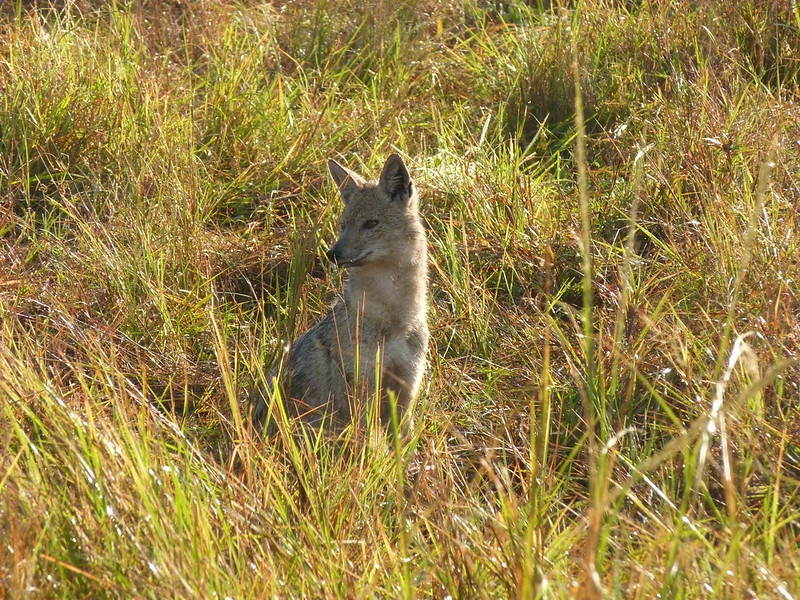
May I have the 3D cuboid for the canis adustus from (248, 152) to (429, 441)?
[{"bbox_3d":[-0.346,0.016,4.694,0.539,1.033,1.782,-28,38,39],"label":"canis adustus"}]
